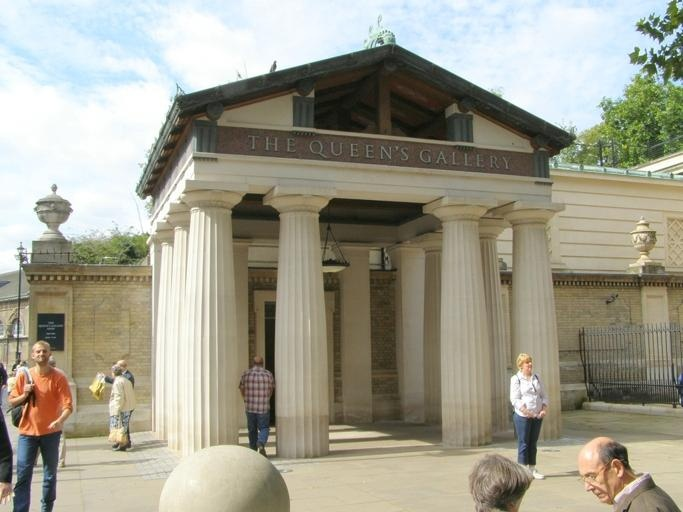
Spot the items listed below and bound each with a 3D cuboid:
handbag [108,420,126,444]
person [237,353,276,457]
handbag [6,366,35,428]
[{"bbox_3d":[-5.007,3.941,15.417,0.396,0.433,0.189,-4,-11,12],"label":"handbag"},{"bbox_3d":[-1.798,3.134,14.660,0.745,2.020,1.228,-1,-11,-6],"label":"person"},{"bbox_3d":[-4.289,1.944,9.557,0.493,0.747,0.205,-5,-13,31],"label":"handbag"}]
